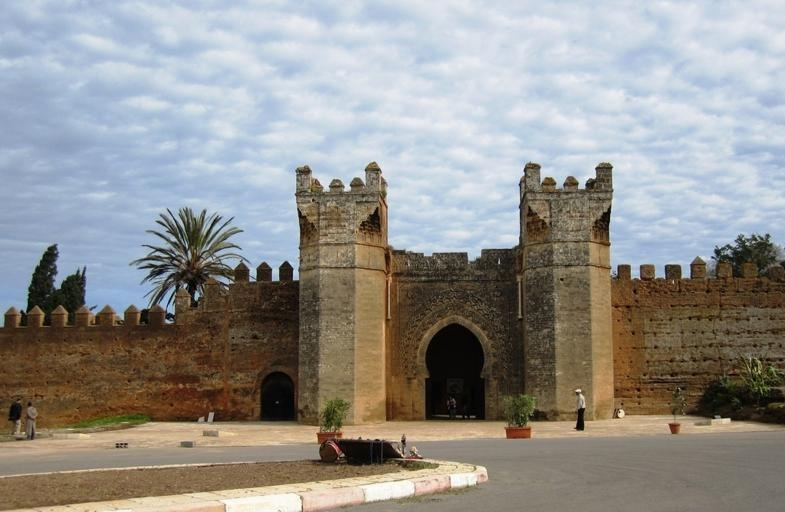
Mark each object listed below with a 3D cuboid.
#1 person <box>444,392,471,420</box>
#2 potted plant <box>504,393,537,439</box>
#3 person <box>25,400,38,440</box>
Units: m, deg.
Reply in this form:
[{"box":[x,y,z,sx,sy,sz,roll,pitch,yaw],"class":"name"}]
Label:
[{"box":[2.973,6.720,39.663,1.229,1.264,0.302,1,-15,-9],"class":"person"},{"box":[4.029,5.353,29.069,1.229,1.258,0.907,0,-14,-9],"class":"potted plant"},{"box":[-12.953,5.962,31.649,0.317,1.109,1.380,4,-9,-23],"class":"person"}]
